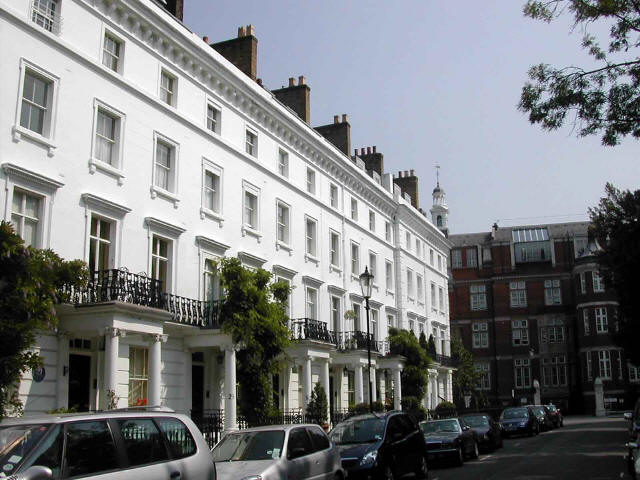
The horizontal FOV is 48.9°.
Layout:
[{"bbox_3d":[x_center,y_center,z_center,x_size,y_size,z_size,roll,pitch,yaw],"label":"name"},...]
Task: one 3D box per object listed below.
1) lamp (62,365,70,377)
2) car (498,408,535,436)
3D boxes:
[{"bbox_3d":[-8.440,4.300,23.258,0.157,0.391,0.346,-3,-11,11],"label":"lamp"},{"bbox_3d":[10.995,10.030,39.270,1.650,1.679,3.267,-13,-21,28],"label":"car"}]
